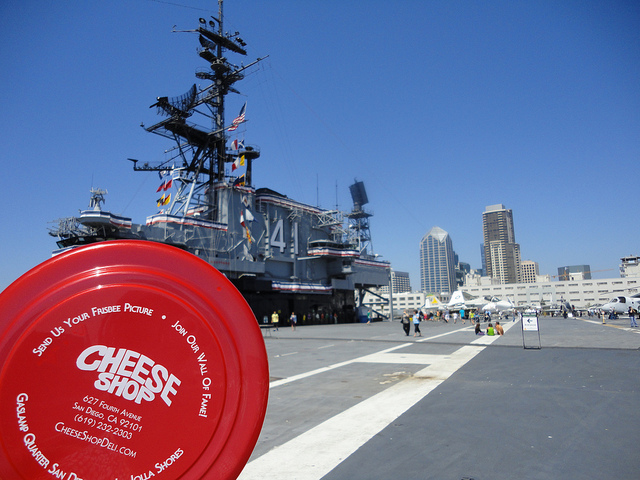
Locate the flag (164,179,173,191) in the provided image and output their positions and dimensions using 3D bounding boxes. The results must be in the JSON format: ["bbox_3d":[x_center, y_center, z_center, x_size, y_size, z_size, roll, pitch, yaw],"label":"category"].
[{"bbox_3d":[-11.222,-4.033,38.118,0.189,0.653,1.275,4,-10,-35],"label":"flag"}]

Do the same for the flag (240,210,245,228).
[{"bbox_3d":[-6.998,-1.958,46.376,0.391,1.388,1.202,0,-8,-9],"label":"flag"}]

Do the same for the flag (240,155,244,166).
[{"bbox_3d":[-6.097,-6.165,40.261,0.295,0.745,0.487,0,-8,-9],"label":"flag"}]

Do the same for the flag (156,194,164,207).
[{"bbox_3d":[-12.177,-3.025,39.477,0.409,0.735,1.415,1,-9,-18],"label":"flag"}]

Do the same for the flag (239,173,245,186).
[{"bbox_3d":[-7.029,-5.299,46.416,0.453,0.814,2.511,0,-8,-9],"label":"flag"}]
